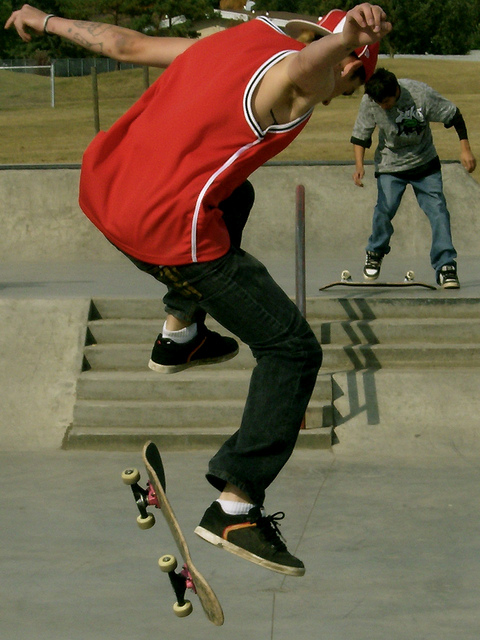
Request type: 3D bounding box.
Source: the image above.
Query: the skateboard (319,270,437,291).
[{"bbox_3d":[0.907,-0.278,7.326,0.805,0.148,0.477,1,14,-6],"label":"skateboard"}]

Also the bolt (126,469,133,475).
[{"bbox_3d":[-0.433,0.597,4.090,0.022,0.005,0.019,2,13,8],"label":"bolt"}]

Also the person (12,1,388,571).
[{"bbox_3d":[-0.106,-0.002,3.893,0.990,2.251,0.974,2,17,-7],"label":"person"}]

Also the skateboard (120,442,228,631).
[{"bbox_3d":[-0.260,0.775,4.030,0.166,0.234,1.003,-16,35,-19],"label":"skateboard"}]

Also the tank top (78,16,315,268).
[{"bbox_3d":[-0.171,-0.595,3.608,0.740,0.852,0.345,1,17,-8],"label":"tank top"}]

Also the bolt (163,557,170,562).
[{"bbox_3d":[-0.266,0.872,3.793,0.012,0.004,0.018,27,16,21],"label":"bolt"}]
